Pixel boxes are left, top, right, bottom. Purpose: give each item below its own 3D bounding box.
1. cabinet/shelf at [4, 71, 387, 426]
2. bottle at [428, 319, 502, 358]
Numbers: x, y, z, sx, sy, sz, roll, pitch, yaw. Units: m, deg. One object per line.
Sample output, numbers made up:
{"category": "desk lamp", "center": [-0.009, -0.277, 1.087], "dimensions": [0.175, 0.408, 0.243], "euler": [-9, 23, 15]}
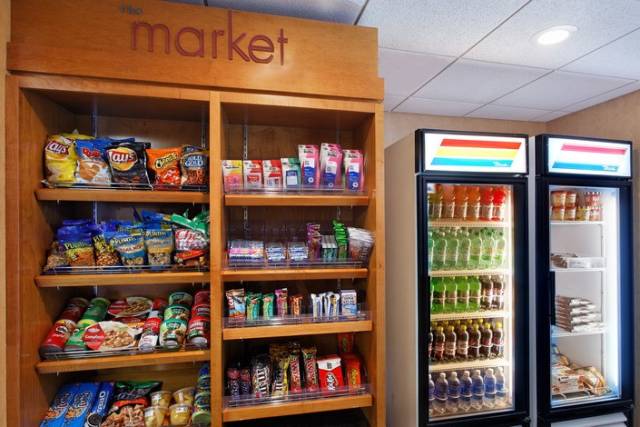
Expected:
{"category": "cabinet/shelf", "center": [-0.990, 0.283, 3.754], "dimensions": [3.289, 2.615, 0.903], "euler": [0, -3, -20]}
{"category": "bottle", "center": [1.195, 1.056, 4.237], "dimensions": [0.472, 0.185, 0.134], "euler": [0, 1, -7]}
